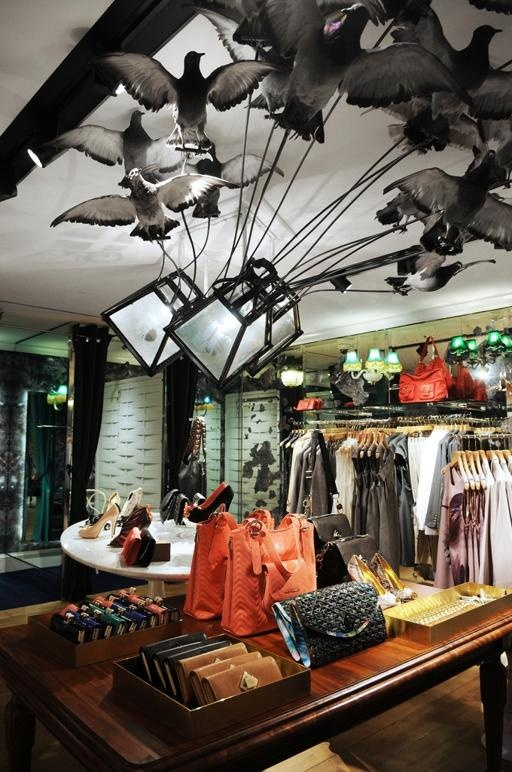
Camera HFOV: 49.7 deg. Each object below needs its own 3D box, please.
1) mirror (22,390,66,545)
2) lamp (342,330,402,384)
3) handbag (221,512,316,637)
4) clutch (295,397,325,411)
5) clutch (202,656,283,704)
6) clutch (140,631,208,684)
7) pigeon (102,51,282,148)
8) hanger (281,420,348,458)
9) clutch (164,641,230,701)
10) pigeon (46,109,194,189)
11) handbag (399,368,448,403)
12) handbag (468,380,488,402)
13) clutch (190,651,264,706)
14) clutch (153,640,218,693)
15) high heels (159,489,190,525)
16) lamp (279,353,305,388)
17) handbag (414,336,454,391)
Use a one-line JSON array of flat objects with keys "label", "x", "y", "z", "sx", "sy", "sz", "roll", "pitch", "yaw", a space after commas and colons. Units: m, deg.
[{"label": "mirror", "x": -2.070, "y": 0.809, "z": 5.472, "sx": 0.502, "sy": 1.492, "sz": 0.229, "roll": -2, "pitch": -4, "yaw": 15}, {"label": "lamp", "x": 1.062, "y": -0.189, "z": 5.206, "sx": 0.178, "sy": 0.369, "sz": 0.704, "roll": 2, "pitch": -4, "yaw": -31}, {"label": "handbag", "x": 0.028, "y": 0.531, "z": 1.516, "sx": 0.290, "sy": 0.254, "sz": 0.153, "roll": 5, "pitch": -13, "yaw": -36}, {"label": "clutch", "x": 0.526, "y": 0.196, "z": 5.594, "sx": 0.125, "sy": 0.101, "sz": 0.213, "roll": 3, "pitch": -1, "yaw": -38}, {"label": "clutch", "x": -0.023, "y": 0.578, "z": 1.091, "sx": 0.173, "sy": 0.045, "sz": 0.052, "roll": 2, "pitch": -5, "yaw": -41}, {"label": "clutch", "x": -0.177, "y": 0.593, "z": 1.202, "sx": 0.028, "sy": 0.083, "sz": 0.085, "roll": 25, "pitch": 13, "yaw": 39}, {"label": "pigeon", "x": -0.152, "y": -0.618, "z": 1.212, "sx": 0.377, "sy": 0.183, "sz": 0.188, "roll": -3, "pitch": 12, "yaw": -12}, {"label": "hanger", "x": 0.558, "y": 0.504, "z": 5.125, "sx": 0.486, "sy": 0.103, "sz": 0.437, "roll": -12, "pitch": 3, "yaw": -6}, {"label": "clutch", "x": -0.129, "y": 0.606, "z": 1.169, "sx": 0.097, "sy": 0.028, "sz": 0.077, "roll": 0, "pitch": -3, "yaw": -44}, {"label": "pigeon", "x": -0.440, "y": -0.784, "z": 1.813, "sx": 0.323, "sy": 0.159, "sz": 0.142, "roll": 11, "pitch": -17, "yaw": -37}, {"label": "handbag", "x": 1.380, "y": 0.020, "z": 4.605, "sx": 0.258, "sy": 0.305, "sz": 0.459, "roll": -2, "pitch": -1, "yaw": -41}, {"label": "handbag", "x": 1.727, "y": 0.046, "z": 4.289, "sx": 0.033, "sy": 0.174, "sz": 0.147, "roll": 2, "pitch": -4, "yaw": -27}, {"label": "clutch", "x": -0.064, "y": 0.585, "z": 1.110, "sx": 0.097, "sy": 0.026, "sz": 0.076, "roll": -4, "pitch": 0, "yaw": -35}, {"label": "clutch", "x": -0.145, "y": 0.575, "z": 1.119, "sx": 0.084, "sy": 0.034, "sz": 0.105, "roll": 0, "pitch": 1, "yaw": -13}, {"label": "high heels", "x": -0.460, "y": 0.689, "z": 3.120, "sx": 0.075, "sy": 0.224, "sz": 0.130, "roll": 1, "pitch": -31, "yaw": 28}, {"label": "lamp", "x": 0.404, "y": -0.152, "z": 6.036, "sx": 0.323, "sy": 0.379, "sz": 0.315, "roll": 3, "pitch": 4, "yaw": 0}, {"label": "handbag", "x": 1.490, "y": -0.172, "z": 4.610, "sx": 0.190, "sy": 0.508, "sz": 0.384, "roll": 9, "pitch": -14, "yaw": -33}]
